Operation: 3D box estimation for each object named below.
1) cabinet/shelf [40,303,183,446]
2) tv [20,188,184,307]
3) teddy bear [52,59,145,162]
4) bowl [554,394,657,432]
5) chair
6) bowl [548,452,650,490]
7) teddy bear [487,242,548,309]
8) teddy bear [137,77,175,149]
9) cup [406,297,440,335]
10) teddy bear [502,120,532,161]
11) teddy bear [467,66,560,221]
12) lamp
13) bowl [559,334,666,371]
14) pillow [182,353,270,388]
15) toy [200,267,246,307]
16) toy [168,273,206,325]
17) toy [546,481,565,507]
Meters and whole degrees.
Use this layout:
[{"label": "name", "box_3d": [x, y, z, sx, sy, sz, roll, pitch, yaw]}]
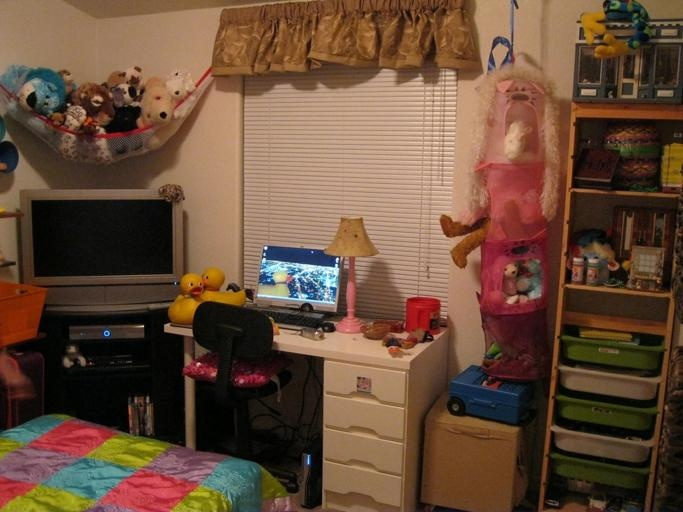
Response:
[{"label": "cabinet/shelf", "box_3d": [-1.379, 0.720, 3.587, 0.719, 0.672, 0.382, -1, -6, -1]}, {"label": "tv", "box_3d": [-1.437, -0.037, 3.589, 0.953, 0.687, 0.250, -1, 4, -3]}, {"label": "teddy bear", "box_3d": [-1.414, -0.886, 3.535, 0.617, 0.610, 0.399, -3, 10, -15]}, {"label": "bowl", "box_3d": [1.298, 0.769, 2.877, 0.248, 0.066, 0.250, 2, 1, 0]}, {"label": "chair", "box_3d": [-0.537, 0.748, 3.221, 0.591, 1.005, 0.605, 5, 5, 37]}, {"label": "bowl", "box_3d": [1.282, 1.068, 2.927, 0.289, 0.084, 0.248, 1, 0, 31]}, {"label": "teddy bear", "box_3d": [0.849, 0.104, 3.092, 0.329, 0.346, 0.320, -1, -3, -15]}, {"label": "teddy bear", "box_3d": [-1.120, -0.869, 3.612, 0.158, 0.502, 0.244, 0, -17, 4]}, {"label": "cup", "box_3d": [0.460, 0.338, 3.279, 0.190, 0.194, 0.179, -1, 8, 0]}, {"label": "teddy bear", "box_3d": [0.844, -0.557, 2.835, 0.137, 0.175, 0.080, 0, 12, -40]}, {"label": "teddy bear", "box_3d": [0.887, -0.608, 3.019, 0.471, 0.886, 0.149, 0, 44, 14]}, {"label": "lamp", "box_3d": [0.072, 0.088, 3.341, 0.275, 0.631, 0.354, 8, 13, 18]}, {"label": "bowl", "box_3d": [1.310, 0.470, 2.864, 0.300, 0.089, 0.239, 1, -1, 28]}, {"label": "pillow", "box_3d": [-0.590, 0.604, 3.117, 0.256, 0.062, 0.245, 7, 5, 15]}, {"label": "toy", "box_3d": [-0.702, 0.203, 3.485, 0.334, 0.237, 0.238, 8, -1, -12]}, {"label": "toy", "box_3d": [-0.897, 0.255, 3.467, 0.213, 0.302, 0.297, 6, -4, -35]}, {"label": "toy", "box_3d": [1.110, 1.236, 3.072, 0.066, 0.034, 0.131, 2, 26, 25]}]
